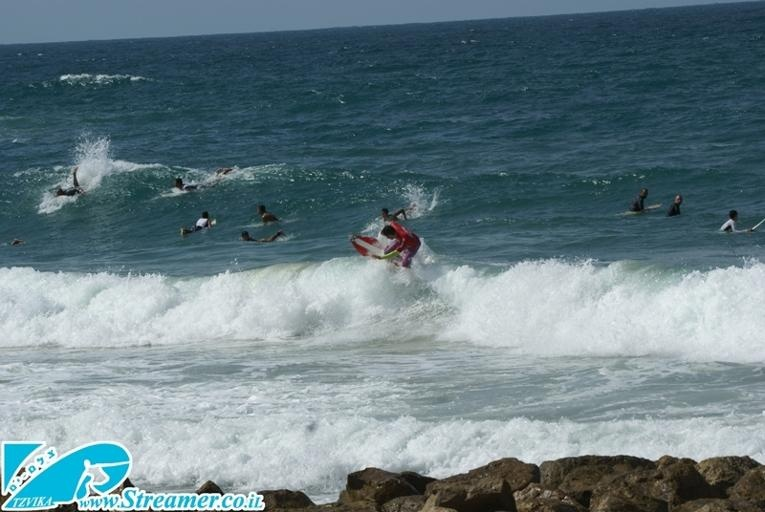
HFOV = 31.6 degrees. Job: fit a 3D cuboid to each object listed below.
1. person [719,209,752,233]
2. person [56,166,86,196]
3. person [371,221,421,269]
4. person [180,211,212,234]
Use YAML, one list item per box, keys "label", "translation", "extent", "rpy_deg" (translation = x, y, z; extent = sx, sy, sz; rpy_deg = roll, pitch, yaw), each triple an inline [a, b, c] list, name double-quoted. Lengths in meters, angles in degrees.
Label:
- label: "person"
  translation: [13.122, -1.382, 50.891]
  extent: [1.110, 0.720, 1.237]
  rpy_deg: [-2, 16, 13]
- label: "person"
  translation: [-14.066, -3.238, 60.608]
  extent: [1.250, 0.802, 2.072]
  rpy_deg: [-9, 16, -13]
- label: "person"
  translation: [0.657, -0.387, 48.469]
  extent: [1.318, 1.680, 0.615]
  rpy_deg: [-7, 18, -1]
- label: "person"
  translation: [-7.567, -1.279, 55.516]
  extent: [1.496, 0.601, 0.714]
  rpy_deg: [-32, 35, -27]
